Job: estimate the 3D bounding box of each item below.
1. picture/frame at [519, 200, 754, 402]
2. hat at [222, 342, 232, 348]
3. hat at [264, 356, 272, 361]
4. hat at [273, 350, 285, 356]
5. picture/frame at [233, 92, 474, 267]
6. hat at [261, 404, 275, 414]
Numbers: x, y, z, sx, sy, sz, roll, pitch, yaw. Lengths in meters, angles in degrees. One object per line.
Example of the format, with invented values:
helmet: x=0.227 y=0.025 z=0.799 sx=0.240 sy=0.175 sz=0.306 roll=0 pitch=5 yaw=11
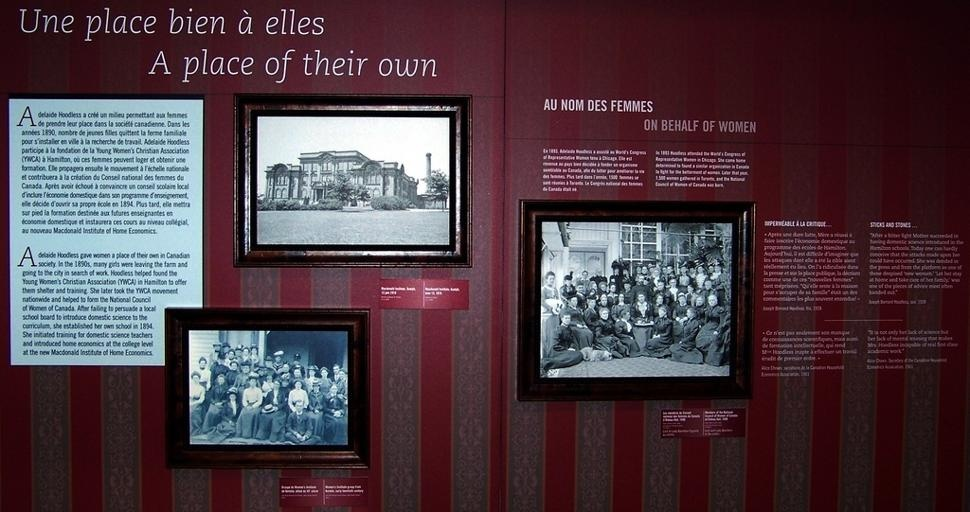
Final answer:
picture/frame: x=1.537 y=0.432 z=11.396 sx=2.333 sy=1.805 sz=0.120 roll=0 pitch=-3 yaw=-2
hat: x=-2.750 y=0.970 z=11.344 sx=0.049 sy=0.064 sz=0.031 roll=-7 pitch=3 yaw=4
hat: x=-2.318 y=1.113 z=11.352 sx=0.064 sy=0.057 sz=0.043 roll=2 pitch=8 yaw=1
hat: x=-2.200 y=1.055 z=11.357 sx=0.069 sy=0.062 sz=0.068 roll=-23 pitch=19 yaw=-32
picture/frame: x=-1.490 y=-0.837 z=11.335 sx=2.020 sy=1.331 sz=0.077 roll=0 pitch=-2 yaw=0
hat: x=-2.319 y=1.656 z=11.365 sx=0.114 sy=0.031 sz=0.101 roll=-7 pitch=12 yaw=-1
